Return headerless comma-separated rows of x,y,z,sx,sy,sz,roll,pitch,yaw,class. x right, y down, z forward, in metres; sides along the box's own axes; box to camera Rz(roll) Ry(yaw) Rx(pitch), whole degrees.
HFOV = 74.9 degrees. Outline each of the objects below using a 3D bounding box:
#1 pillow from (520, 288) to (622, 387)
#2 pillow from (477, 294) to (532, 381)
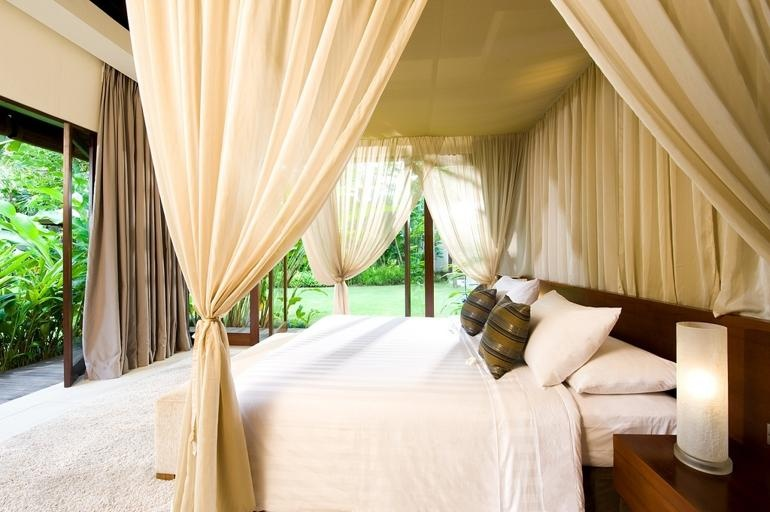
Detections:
1.139,0.305,3.229,0.399,0.398,0.966,-10,7,8,pillow
0.819,0.550,3.501,0.261,0.502,0.511,9,2,-2,pillow
